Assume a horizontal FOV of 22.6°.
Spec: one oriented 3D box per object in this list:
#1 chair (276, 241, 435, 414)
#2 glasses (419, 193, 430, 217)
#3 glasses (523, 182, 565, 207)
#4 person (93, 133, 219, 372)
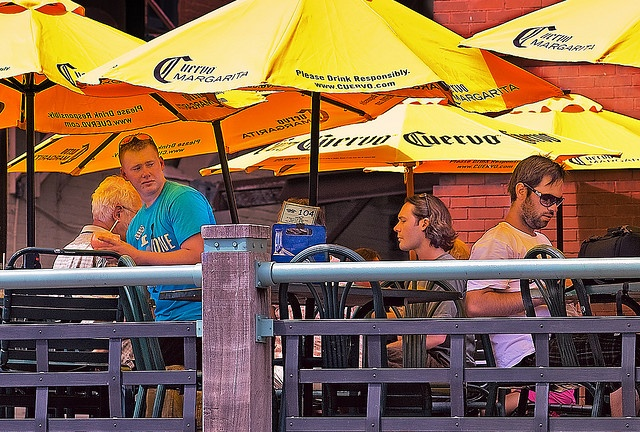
[{"bbox_3d":[0.231,0.724,10.736,0.967,1.230,1.404,-3,-14,3],"label":"chair"},{"bbox_3d":[0.824,-0.088,12.417,0.054,0.140,0.115,-2,-4,5],"label":"glasses"},{"bbox_3d":[1.714,-0.138,12.357,0.231,0.062,0.219,25,8,30],"label":"glasses"},{"bbox_3d":[-1.254,0.506,12.196,1.160,2.103,0.920,-1,-17,-6],"label":"person"}]
